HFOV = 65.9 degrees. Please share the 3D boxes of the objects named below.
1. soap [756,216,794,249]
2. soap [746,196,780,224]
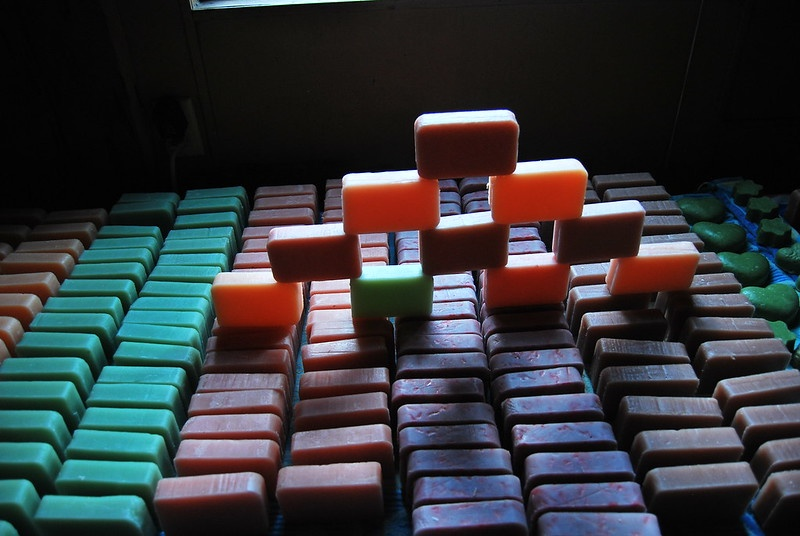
[{"bbox_3d":[1.736,-0.160,2.873,0.136,0.066,0.134,-4,39,-2],"label":"soap"},{"bbox_3d":[1.757,-0.282,2.969,0.132,0.062,0.122,-11,47,-11],"label":"soap"}]
